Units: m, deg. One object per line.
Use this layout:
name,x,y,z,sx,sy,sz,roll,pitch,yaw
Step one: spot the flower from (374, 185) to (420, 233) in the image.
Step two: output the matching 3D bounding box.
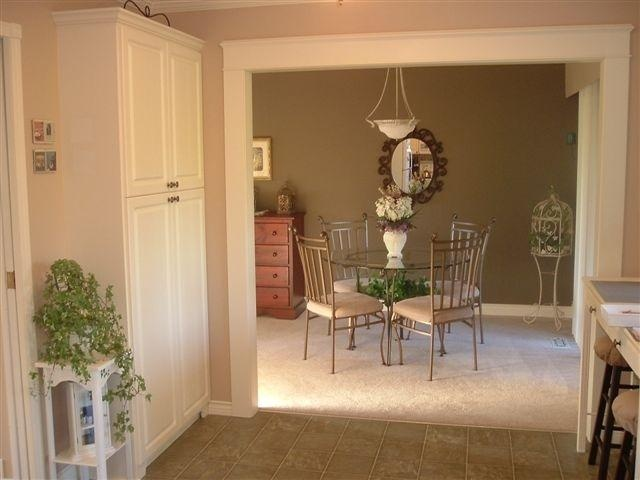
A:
flower,0.751,-0.295,4.917,0.233,0.329,0.258,-1,-8,27

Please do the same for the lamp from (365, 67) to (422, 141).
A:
lamp,0.721,-1.438,4.971,0.423,0.855,0.457,0,2,8

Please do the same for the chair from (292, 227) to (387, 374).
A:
chair,0.188,0.539,4.844,0.741,1.331,0.708,-3,6,-22

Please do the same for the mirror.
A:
mirror,1.128,-0.883,5.888,0.969,1.106,0.044,-1,4,11

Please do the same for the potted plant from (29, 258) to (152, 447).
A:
potted plant,-1.296,0.630,2.841,0.595,1.066,0.470,-5,11,-22

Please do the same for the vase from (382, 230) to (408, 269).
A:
vase,0.743,0.018,5.002,0.209,0.328,0.211,2,24,10

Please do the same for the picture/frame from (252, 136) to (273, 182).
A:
picture/frame,-0.723,-1.039,6.393,0.228,0.527,0.097,2,11,15
